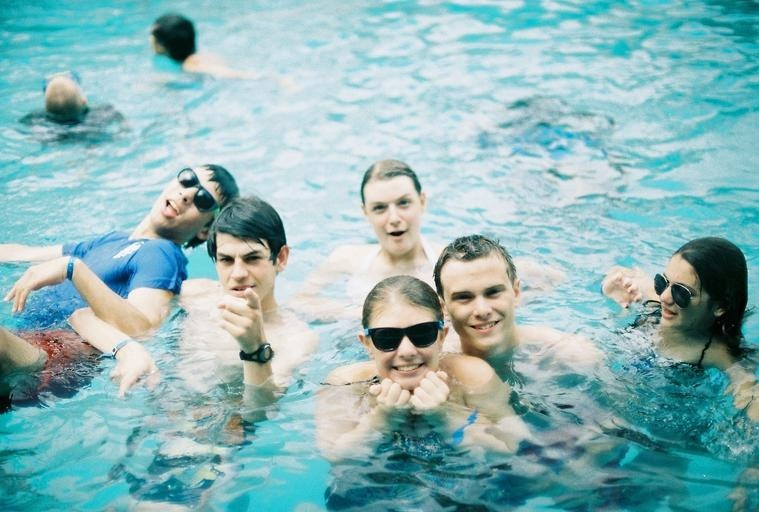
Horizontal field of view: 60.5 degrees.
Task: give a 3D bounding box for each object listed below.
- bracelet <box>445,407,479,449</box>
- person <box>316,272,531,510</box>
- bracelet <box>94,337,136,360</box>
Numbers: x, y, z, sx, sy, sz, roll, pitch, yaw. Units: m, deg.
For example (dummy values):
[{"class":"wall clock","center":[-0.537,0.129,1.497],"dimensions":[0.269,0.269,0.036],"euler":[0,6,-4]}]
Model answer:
[{"class":"bracelet","center":[0.691,1.445,5.410],"dimensions":[0.378,0.110,0.033],"euler":[-38,-25,-24]},{"class":"person","center":[0.242,1.063,5.487],"dimensions":[1.665,1.680,0.971],"euler":[-8,5,-7]},{"class":"bracelet","center":[-2.416,0.853,6.067],"dimensions":[0.206,0.052,0.206],"euler":[-30,7,-40]}]
